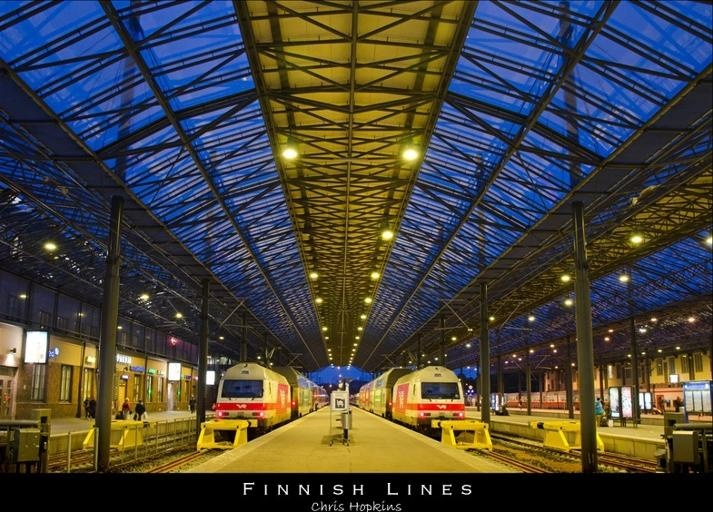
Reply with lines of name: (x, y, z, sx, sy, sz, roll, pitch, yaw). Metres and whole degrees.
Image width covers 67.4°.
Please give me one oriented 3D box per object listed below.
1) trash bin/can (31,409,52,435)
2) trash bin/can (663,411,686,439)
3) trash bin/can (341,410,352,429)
trash bin/can: (-9.829, 5.174, 16.907, 0.474, 0.722, 0.991, -1, -21, 0)
trash bin/can: (10.079, 5.351, 17.077, 0.689, 0.759, 1.003, -12, -24, 26)
trash bin/can: (-0.433, 7.976, 26.123, 0.455, 1.020, 1.395, 2, -21, -6)
